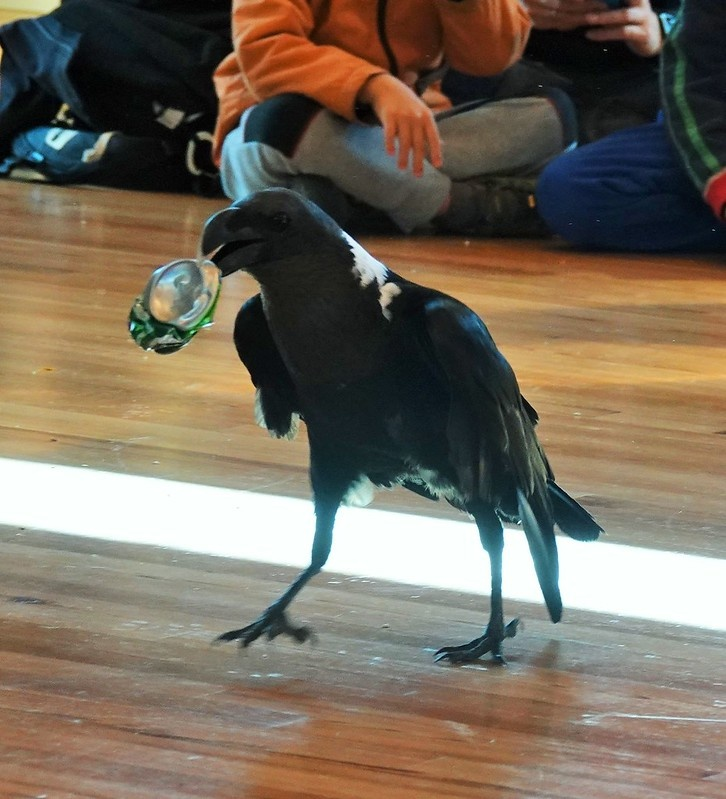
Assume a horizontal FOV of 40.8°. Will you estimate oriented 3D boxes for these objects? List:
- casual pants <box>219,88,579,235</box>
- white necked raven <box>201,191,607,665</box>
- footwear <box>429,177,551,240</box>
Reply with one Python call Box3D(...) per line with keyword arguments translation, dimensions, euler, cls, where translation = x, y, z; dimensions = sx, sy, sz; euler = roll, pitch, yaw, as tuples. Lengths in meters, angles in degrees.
Box3D(translation=(0.128, -0.376, 1.704), dimensions=(0.704, 0.187, 0.495), euler=(-9, 8, -38), cls="casual pants")
Box3D(translation=(0.024, 0.024, 0.454), dimensions=(0.178, 0.242, 0.122), euler=(6, 44, 10), cls="white necked raven")
Box3D(translation=(0.232, -0.329, 1.766), dimensions=(0.155, 0.049, 0.178), euler=(-5, -2, 27), cls="footwear")
